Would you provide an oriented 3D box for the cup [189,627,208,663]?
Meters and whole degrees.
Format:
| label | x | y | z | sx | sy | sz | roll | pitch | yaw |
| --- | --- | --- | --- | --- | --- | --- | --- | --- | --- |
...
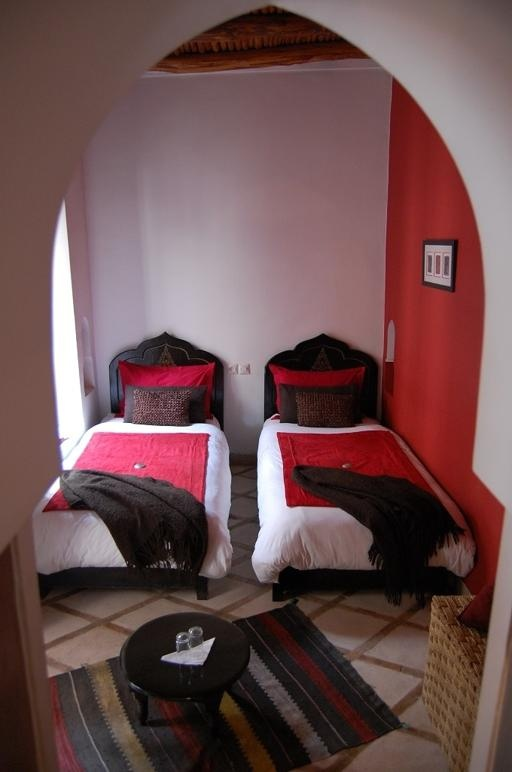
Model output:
| label | x | y | z | sx | sy | sz | roll | pitch | yaw |
| --- | --- | --- | --- | --- | --- | --- | --- | --- | --- |
| cup | -0.243 | 1.043 | 2.286 | 0.071 | 0.129 | 0.072 | -1 | -2 | 0 |

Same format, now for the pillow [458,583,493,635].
| label | x | y | z | sx | sy | sz | roll | pitch | yaw |
| --- | --- | --- | --- | --- | --- | --- | --- | --- | --- |
| pillow | 0.829 | 0.847 | 2.151 | 0.113 | 0.174 | 0.192 | 4 | 12 | 21 |

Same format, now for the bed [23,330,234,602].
| label | x | y | z | sx | sy | sz | roll | pitch | yaw |
| --- | --- | --- | --- | --- | --- | --- | --- | --- | --- |
| bed | -0.681 | 0.409 | 3.897 | 0.991 | 1.004 | 1.884 | -1 | 17 | 1 |

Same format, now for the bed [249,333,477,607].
| label | x | y | z | sx | sy | sz | roll | pitch | yaw |
| --- | --- | --- | --- | --- | --- | --- | --- | --- | --- |
| bed | 0.534 | 0.435 | 4.122 | 1.197 | 1.194 | 2.398 | -2 | 13 | -2 |
